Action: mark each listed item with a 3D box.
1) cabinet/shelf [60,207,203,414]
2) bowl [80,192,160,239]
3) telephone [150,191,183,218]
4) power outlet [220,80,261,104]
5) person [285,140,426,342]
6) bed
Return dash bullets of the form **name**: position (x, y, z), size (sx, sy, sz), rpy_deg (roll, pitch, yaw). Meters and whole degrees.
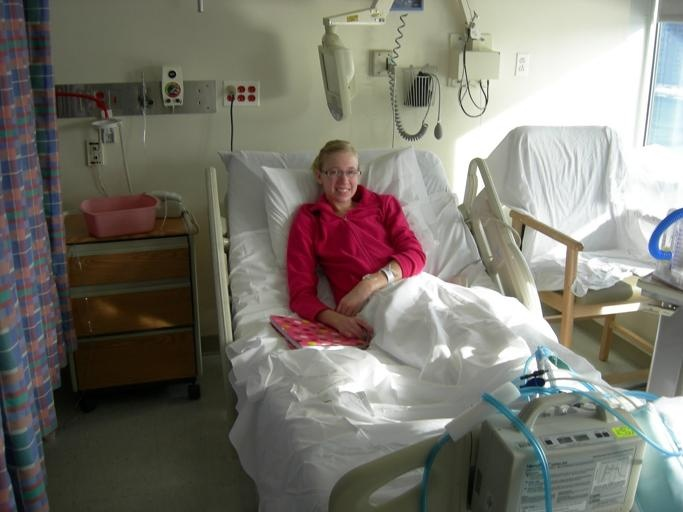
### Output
- **cabinet/shelf**: position (-1.042, 0.186, 2.632), size (0.624, 0.932, 0.579), rpy_deg (-6, 30, -24)
- **bowl**: position (-1.021, -0.189, 2.416), size (0.327, 0.157, 0.309), rpy_deg (-4, 15, 1)
- **telephone**: position (-0.865, -0.262, 2.566), size (0.127, 0.099, 0.135), rpy_deg (-2, 19, -11)
- **power outlet**: position (-0.527, -0.853, 2.722), size (0.185, 0.116, 0.040), rpy_deg (-9, 15, -20)
- **person**: position (0.035, -0.045, 2.342), size (0.595, 0.381, 1.107), rpy_deg (-6, 53, -10)
- **bed**: position (0.133, 0.123, 1.944), size (1.186, 0.859, 1.449), rpy_deg (-8, 15, -15)
